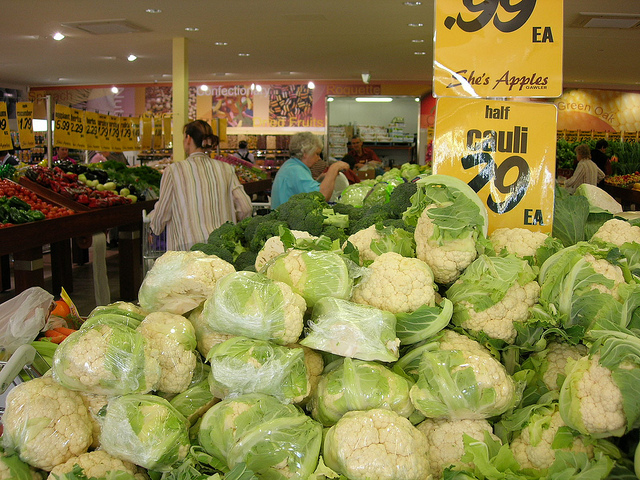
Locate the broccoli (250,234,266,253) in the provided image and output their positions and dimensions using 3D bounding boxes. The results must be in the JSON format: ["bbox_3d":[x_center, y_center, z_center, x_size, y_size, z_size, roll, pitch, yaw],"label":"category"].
[{"bbox_3d":[-0.331,0.028,2.287,0.098,0.047,0.086,-41,-22,22],"label":"broccoli"}]

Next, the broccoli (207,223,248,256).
[{"bbox_3d":[-0.546,-0.004,2.535,0.169,0.145,0.198,1,-1,-12],"label":"broccoli"}]

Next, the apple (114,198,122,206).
[{"bbox_3d":[-2.575,-0.493,5.559,0.053,0.080,0.165,0,8,-4],"label":"apple"}]

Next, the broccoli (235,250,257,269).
[{"bbox_3d":[-0.379,0.087,2.245,0.078,0.043,0.093,2,26,17],"label":"broccoli"}]

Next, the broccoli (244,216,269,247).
[{"bbox_3d":[-0.344,-0.072,2.465,0.086,0.126,0.158,27,39,-17],"label":"broccoli"}]

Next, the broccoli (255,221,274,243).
[{"bbox_3d":[-0.281,-0.040,2.268,0.080,0.066,0.108,-10,20,20],"label":"broccoli"}]

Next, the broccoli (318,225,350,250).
[{"bbox_3d":[0.074,-0.014,2.264,0.096,0.069,0.116,3,11,-45],"label":"broccoli"}]

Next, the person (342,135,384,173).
[{"bbox_3d":[0.805,-1.728,9.172,0.892,0.909,0.555,-9,17,15],"label":"person"}]

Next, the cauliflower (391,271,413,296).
[{"bbox_3d":[0.257,0.135,1.369,0.061,0.062,0.040,2,7,13],"label":"cauliflower"}]

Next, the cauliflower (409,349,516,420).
[{"bbox_3d":[0.392,0.401,1.233,0.230,0.113,0.198,-10,2,-33],"label":"cauliflower"}]

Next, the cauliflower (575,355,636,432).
[{"bbox_3d":[0.740,0.423,1.156,0.134,0.179,0.150,0,12,-7],"label":"cauliflower"}]

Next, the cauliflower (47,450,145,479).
[{"bbox_3d":[-0.603,0.613,1.160,0.237,0.080,0.080,1,7,2],"label":"cauliflower"}]

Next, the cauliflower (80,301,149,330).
[{"bbox_3d":[-0.642,0.222,1.426,0.167,0.101,0.209,1,7,-7],"label":"cauliflower"}]

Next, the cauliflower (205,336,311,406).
[{"bbox_3d":[-0.176,0.383,1.288,0.326,0.161,0.219,7,0,10],"label":"cauliflower"}]

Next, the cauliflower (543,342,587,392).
[{"bbox_3d":[0.742,0.373,1.348,0.050,0.132,0.125,22,-24,-30],"label":"cauliflower"}]

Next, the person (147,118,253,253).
[{"bbox_3d":[-1.231,-0.220,4.351,0.823,2.002,0.594,-9,39,-29],"label":"person"}]

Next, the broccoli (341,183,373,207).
[{"bbox_3d":[0.260,-0.338,3.188,0.152,0.111,0.192,-4,10,2],"label":"broccoli"}]

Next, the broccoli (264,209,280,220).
[{"bbox_3d":[-0.276,-0.157,2.494,0.057,0.034,0.064,-14,14,36],"label":"broccoli"}]

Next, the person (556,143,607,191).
[{"bbox_3d":[5.528,-1.542,9.117,0.662,0.966,1.195,6,9,36],"label":"person"}]

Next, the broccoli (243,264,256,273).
[{"bbox_3d":[-0.315,0.127,1.949,0.063,0.019,0.065,-1,4,5],"label":"broccoli"}]

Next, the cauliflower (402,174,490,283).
[{"bbox_3d":[0.424,-0.038,1.520,0.308,0.366,0.181,4,8,26],"label":"cauliflower"}]

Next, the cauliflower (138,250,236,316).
[{"bbox_3d":[-0.471,0.086,1.547,0.348,0.222,0.279,-1,13,-38],"label":"cauliflower"}]

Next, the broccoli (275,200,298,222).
[{"bbox_3d":[-0.182,-0.173,2.423,0.095,0.123,0.057,8,-31,37],"label":"broccoli"}]

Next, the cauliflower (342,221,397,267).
[{"bbox_3d":[0.174,0.026,1.632,0.176,0.107,0.148,-18,5,21],"label":"cauliflower"}]

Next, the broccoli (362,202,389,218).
[{"bbox_3d":[0.307,-0.163,2.412,0.085,0.029,0.090,-17,15,24],"label":"broccoli"}]

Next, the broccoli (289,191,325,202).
[{"bbox_3d":[-0.076,-0.259,2.603,0.108,0.043,0.104,-7,0,2],"label":"broccoli"}]

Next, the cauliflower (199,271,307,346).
[{"bbox_3d":[-0.186,0.194,1.295,0.312,0.152,0.235,10,29,-13],"label":"cauliflower"}]

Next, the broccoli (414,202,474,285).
[{"bbox_3d":[0.447,-0.014,1.516,0.147,0.252,0.181,25,-44,-35],"label":"broccoli"}]

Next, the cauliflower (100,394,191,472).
[{"bbox_3d":[-0.477,0.523,1.189,0.219,0.198,0.102,2,7,13],"label":"cauliflower"}]

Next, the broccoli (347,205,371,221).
[{"bbox_3d":[0.209,-0.155,2.493,0.095,0.041,0.100,3,24,40],"label":"broccoli"}]

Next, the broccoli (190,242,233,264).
[{"bbox_3d":[-0.589,0.056,2.368,0.156,0.056,0.151,13,-3,42],"label":"broccoli"}]

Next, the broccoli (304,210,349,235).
[{"bbox_3d":[0.027,-0.094,2.297,0.176,0.095,0.131,2,9,-13],"label":"broccoli"}]

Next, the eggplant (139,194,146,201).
[{"bbox_3d":[-2.587,-0.619,6.317,0.072,0.078,0.075,-5,-37,0],"label":"eggplant"}]

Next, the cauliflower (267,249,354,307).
[{"bbox_3d":[-0.017,0.078,1.409,0.241,0.174,0.230,8,11,39],"label":"cauliflower"}]

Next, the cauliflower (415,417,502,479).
[{"bbox_3d":[0.363,0.550,1.146,0.176,0.168,0.084,-8,-14,10],"label":"cauliflower"}]

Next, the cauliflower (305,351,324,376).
[{"bbox_3d":[-0.022,0.369,1.314,0.024,0.066,0.054,-26,-17,40],"label":"cauliflower"}]

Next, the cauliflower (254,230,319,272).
[{"bbox_3d":[-0.161,0.007,1.812,0.256,0.159,0.210,-8,17,-32],"label":"cauliflower"}]

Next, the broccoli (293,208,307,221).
[{"bbox_3d":[-0.108,-0.128,2.253,0.016,0.057,0.058,31,18,-40],"label":"broccoli"}]

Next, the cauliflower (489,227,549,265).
[{"bbox_3d":[0.677,0.000,1.507,0.144,0.065,0.137,8,9,1],"label":"cauliflower"}]

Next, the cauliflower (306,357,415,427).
[{"bbox_3d":[0.151,0.497,1.390,0.339,0.229,0.453,-14,-15,25],"label":"cauliflower"}]
